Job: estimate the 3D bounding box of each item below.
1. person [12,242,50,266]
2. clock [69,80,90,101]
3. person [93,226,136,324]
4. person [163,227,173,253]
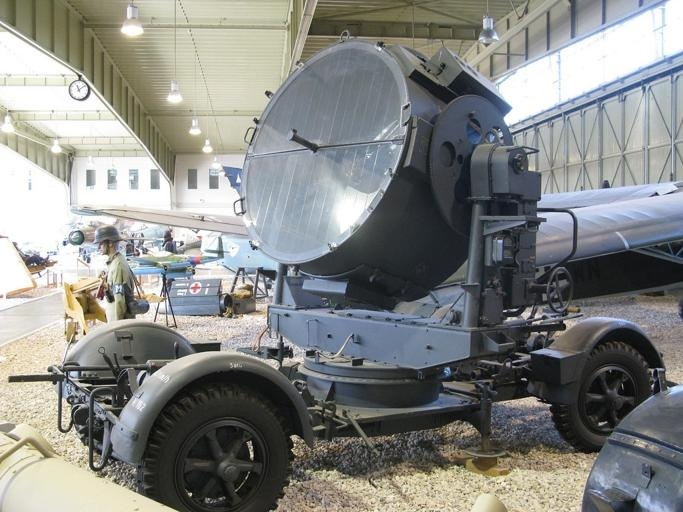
[{"bbox_3d":[-10.154,0.062,21.495,0.927,0.533,1.198,-3,6,-27],"label":"person"},{"bbox_3d":[-7.736,-4.899,19.208,0.505,0.684,0.743,-2,5,-18],"label":"clock"},{"bbox_3d":[-2.897,0.216,8.383,0.393,1.204,0.673,-4,6,-29],"label":"person"},{"bbox_3d":[-5.801,-0.498,21.713,0.302,0.637,2.182,-2,5,-16],"label":"person"}]
